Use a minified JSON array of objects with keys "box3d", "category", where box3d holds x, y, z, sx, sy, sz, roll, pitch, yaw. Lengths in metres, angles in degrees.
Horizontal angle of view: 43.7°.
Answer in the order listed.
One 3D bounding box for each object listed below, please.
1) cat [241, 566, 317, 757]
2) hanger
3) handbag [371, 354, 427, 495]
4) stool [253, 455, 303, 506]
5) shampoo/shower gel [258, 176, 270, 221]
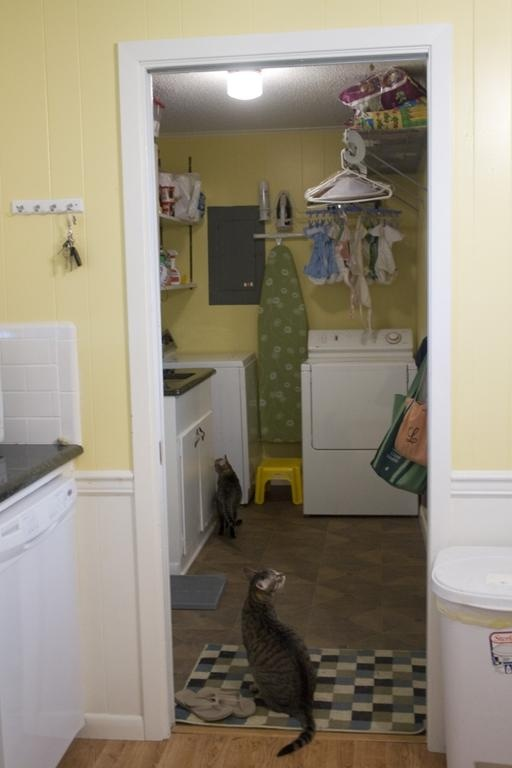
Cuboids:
[{"box3d":[0.066,0.794,1.877,0.195,0.253,0.427,-7,41,-20],"category":"cat"},{"box3d":[0.508,-1.100,3.383,0.469,0.243,0.624,0,17,5],"category":"hanger"},{"box3d":[0.486,0.141,2.181,0.178,0.465,0.290,-2,5,11],"category":"handbag"},{"box3d":[0.139,0.624,4.113,0.272,0.217,0.277,0,7,-4],"category":"stool"},{"box3d":[0.058,-1.175,4.131,0.065,0.229,0.137,-2,5,2],"category":"shampoo/shower gel"}]
